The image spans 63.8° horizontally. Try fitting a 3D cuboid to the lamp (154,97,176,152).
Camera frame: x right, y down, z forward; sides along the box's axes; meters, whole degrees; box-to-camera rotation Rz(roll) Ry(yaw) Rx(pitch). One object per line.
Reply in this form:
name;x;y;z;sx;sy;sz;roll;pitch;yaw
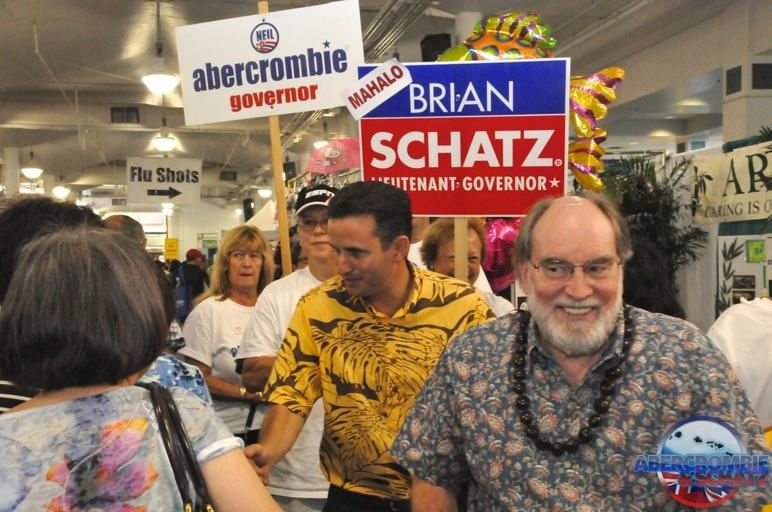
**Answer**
lamp;-5.234;-2.866;14.708;0.410;1.234;4.270;-1;0;-19
